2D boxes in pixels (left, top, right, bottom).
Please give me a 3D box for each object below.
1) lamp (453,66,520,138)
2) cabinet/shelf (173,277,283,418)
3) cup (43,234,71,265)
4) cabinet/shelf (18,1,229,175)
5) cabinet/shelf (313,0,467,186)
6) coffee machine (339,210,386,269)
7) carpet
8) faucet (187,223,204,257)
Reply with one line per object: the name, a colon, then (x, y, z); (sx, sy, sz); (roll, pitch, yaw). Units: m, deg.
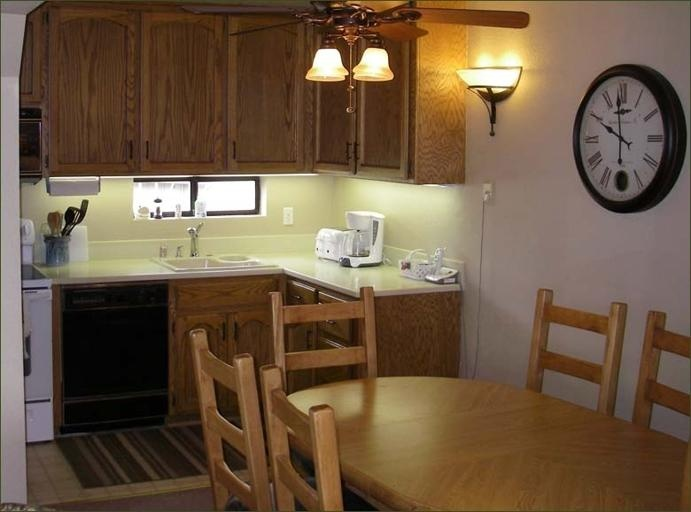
lamp: (0.834, -0.904, 3.210); (0.128, 0.386, 0.377); (-13, 18, -40)
cabinet/shelf: (-0.988, 0.555, 4.325); (0.872, 1.186, 0.614); (-3, 20, -23)
cup: (-2.129, -0.041, 4.001); (0.203, 0.218, 0.183); (2, 4, -5)
cabinet/shelf: (-1.627, -1.210, 3.854); (1.505, 1.412, 0.591); (-1, 3, -17)
cabinet/shelf: (0.305, -0.931, 3.174); (0.396, 1.109, 1.144); (-1, 5, -24)
coffee machine: (0.125, -0.136, 4.225); (0.356, 0.431, 0.247); (-3, 10, -21)
carpet: (-1.385, 1.303, 3.506); (0.667, 0.005, 0.757); (20, 2, 33)
faucet: (-1.230, -0.132, 4.439); (0.126, 0.278, 0.280); (-1, 8, -16)
